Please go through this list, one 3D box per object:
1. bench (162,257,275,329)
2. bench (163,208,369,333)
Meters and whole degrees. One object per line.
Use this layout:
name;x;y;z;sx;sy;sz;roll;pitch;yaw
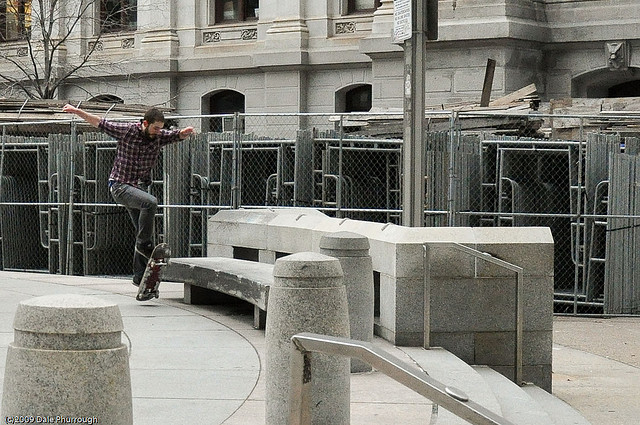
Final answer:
bench;-1.598;1.365;20.228;1.285;1.015;2.984;1;1;-26
bench;-0.857;0.931;20.890;2.367;1.515;5.547;-5;5;-24
